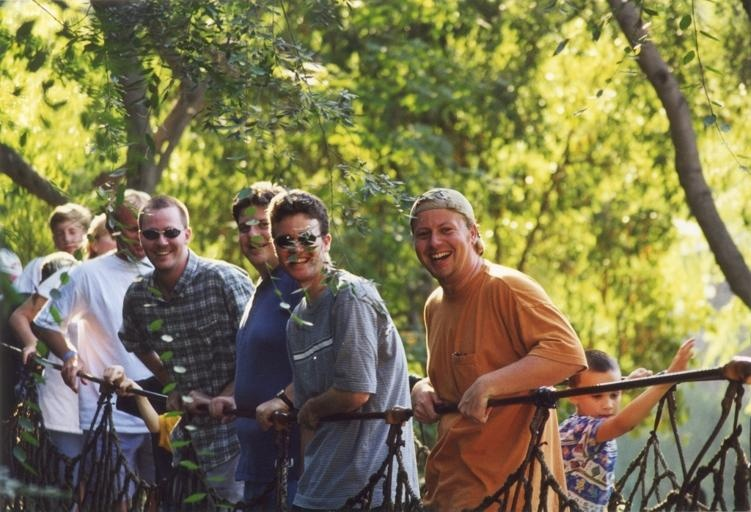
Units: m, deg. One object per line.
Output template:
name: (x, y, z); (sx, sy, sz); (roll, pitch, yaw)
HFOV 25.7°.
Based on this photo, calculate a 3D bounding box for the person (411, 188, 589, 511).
person: (0.883, 0.697, 12.927); (1.257, 2.562, 0.784); (2, -18, 4)

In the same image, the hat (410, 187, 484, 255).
hat: (0.581, -0.254, 13.120); (0.429, 0.458, 0.582); (-14, -44, 6)
